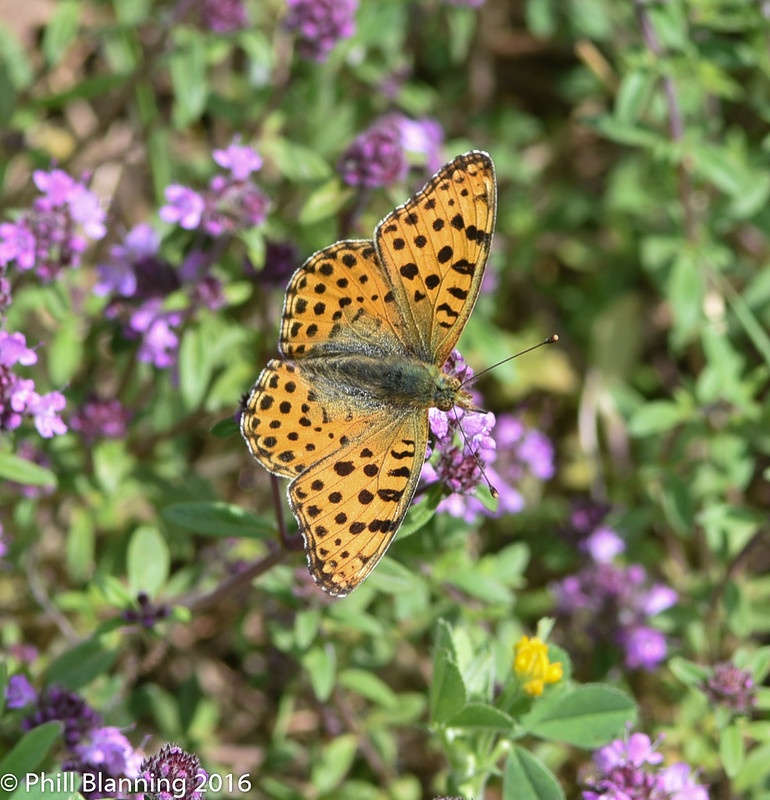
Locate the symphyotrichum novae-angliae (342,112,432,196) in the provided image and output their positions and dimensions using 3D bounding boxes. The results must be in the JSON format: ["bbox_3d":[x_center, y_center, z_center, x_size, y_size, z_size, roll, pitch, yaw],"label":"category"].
[{"bbox_3d":[0.028,-0.969,4.205,0.250,0.174,0.429,48,46,11],"label":"symphyotrichum novae-angliae"}]

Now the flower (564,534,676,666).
[{"bbox_3d":[0.938,0.792,4.193,0.334,0.352,0.476,-6,102,-41],"label":"flower"}]

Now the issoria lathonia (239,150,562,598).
[{"bbox_3d":[-0.035,-0.114,3.158,0.672,0.507,1.311,20,69,1],"label":"issoria lathonia"}]
